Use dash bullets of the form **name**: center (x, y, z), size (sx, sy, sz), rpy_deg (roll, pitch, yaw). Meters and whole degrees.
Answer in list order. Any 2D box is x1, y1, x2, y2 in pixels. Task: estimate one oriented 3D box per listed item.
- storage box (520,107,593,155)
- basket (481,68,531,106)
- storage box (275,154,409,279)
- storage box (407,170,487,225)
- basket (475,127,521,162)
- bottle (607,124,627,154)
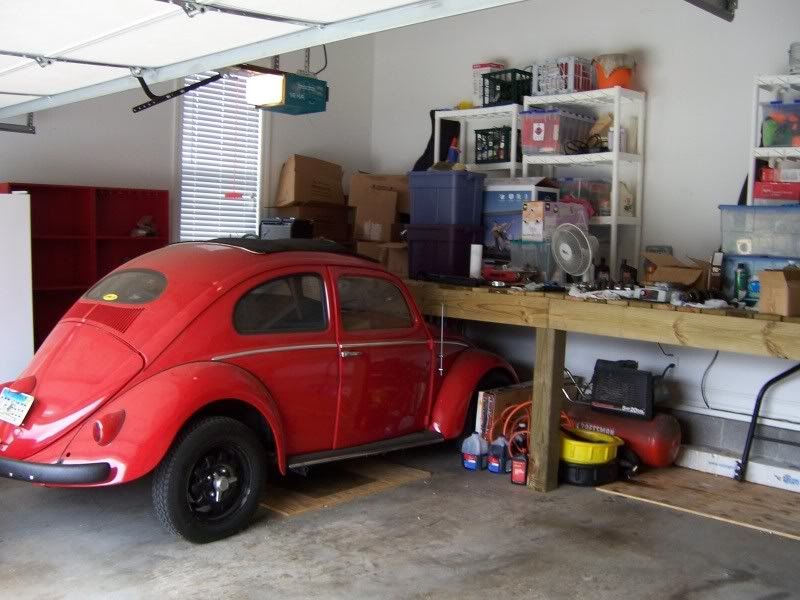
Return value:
- **storage box**: center (1.698, -1.739, 5.932), size (0.501, 0.322, 0.695), rpy_deg (6, 9, 30)
- **basket**: center (1.158, -2.313, 6.212), size (0.605, 0.354, 0.535), rpy_deg (-1, 4, 0)
- **storage box**: center (-0.674, -0.926, 7.419), size (1.885, 1.469, 1.037), rpy_deg (7, 0, -4)
- **storage box**: center (0.513, -0.971, 5.640), size (0.672, 0.431, 0.676), rpy_deg (4, 7, 34)
- **basket**: center (1.061, -1.699, 6.261), size (0.498, 0.399, 0.492), rpy_deg (5, 9, 40)
- **bottle**: center (2.138, -1.578, 5.512), size (0.181, 0.302, 0.437), rpy_deg (6, 6, 22)
